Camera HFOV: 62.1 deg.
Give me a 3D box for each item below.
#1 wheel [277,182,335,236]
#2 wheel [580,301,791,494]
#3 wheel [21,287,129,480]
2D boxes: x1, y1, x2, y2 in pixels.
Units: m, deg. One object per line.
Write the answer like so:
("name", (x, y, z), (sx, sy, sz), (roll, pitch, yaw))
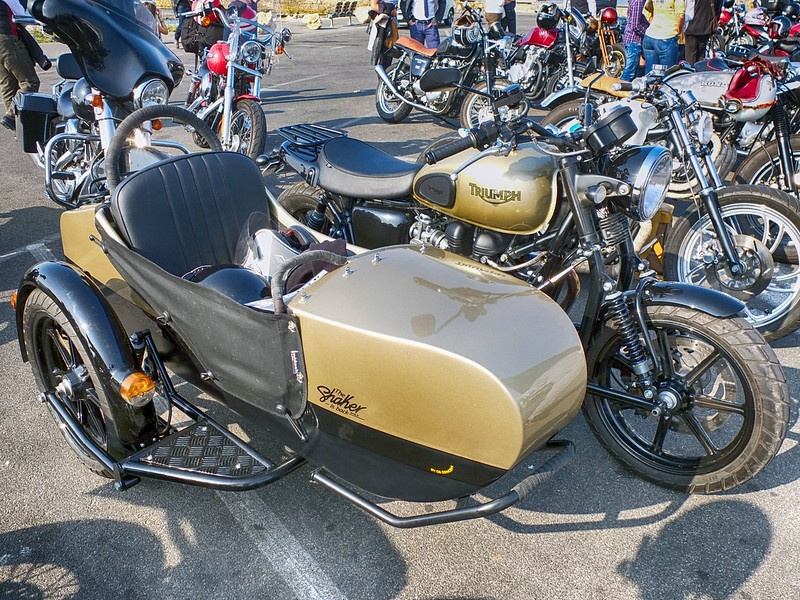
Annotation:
("wheel", (-0.667, -0.663, 4.873), (0.423, 0.458, 0.174), (23, 37, 22))
("wheel", (1.536, 0.554, 3.660), (0.876, 0.929, 0.293), (-7, 13, 36))
("wheel", (-1.768, 0.442, 3.676), (0.212, 0.842, 0.774), (-20, 34, -32))
